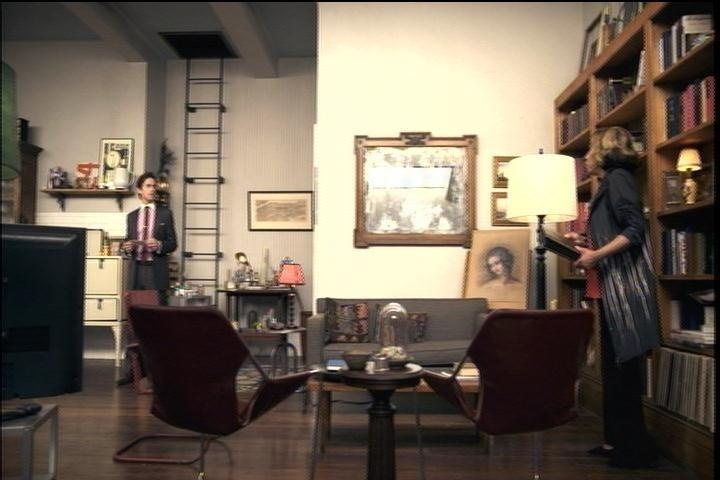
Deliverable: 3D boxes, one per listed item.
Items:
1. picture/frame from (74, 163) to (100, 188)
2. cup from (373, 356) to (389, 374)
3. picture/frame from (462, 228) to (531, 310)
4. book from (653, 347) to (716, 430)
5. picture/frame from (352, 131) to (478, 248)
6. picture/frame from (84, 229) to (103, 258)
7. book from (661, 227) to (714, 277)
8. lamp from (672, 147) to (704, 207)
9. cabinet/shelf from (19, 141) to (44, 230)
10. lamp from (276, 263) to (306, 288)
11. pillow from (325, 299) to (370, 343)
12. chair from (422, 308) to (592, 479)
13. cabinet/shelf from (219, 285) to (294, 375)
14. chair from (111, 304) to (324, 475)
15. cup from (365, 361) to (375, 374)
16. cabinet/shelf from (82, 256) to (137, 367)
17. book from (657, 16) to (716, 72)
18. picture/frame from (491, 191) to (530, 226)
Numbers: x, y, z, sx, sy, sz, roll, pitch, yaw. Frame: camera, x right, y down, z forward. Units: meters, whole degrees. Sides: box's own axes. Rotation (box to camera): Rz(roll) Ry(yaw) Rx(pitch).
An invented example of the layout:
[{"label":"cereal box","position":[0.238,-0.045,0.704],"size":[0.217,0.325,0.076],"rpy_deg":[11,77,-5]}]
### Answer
[{"label":"picture/frame","position":[-3.566,-0.828,8.640],"size":[0.378,0.381,0.071],"rpy_deg":[-1,-18,-7]},{"label":"cup","position":[0.138,0.848,4.494],"size":[0.089,0.073,0.103],"rpy_deg":[-1,-9,10]},{"label":"picture/frame","position":[1.395,0.311,6.682],"size":[0.906,0.983,0.084],"rpy_deg":[1,-8,16]},{"label":"book","position":[2.440,1.093,5.014],"size":[0.159,0.464,0.370],"rpy_deg":[7,-3,-23]},{"label":"picture/frame","position":[0.579,-0.497,6.980],"size":[1.375,1.104,0.128],"rpy_deg":[1,-3,0]},{"label":"picture/frame","position":[-3.206,0.037,8.046],"size":[0.184,0.323,0.225],"rpy_deg":[-1,-1,-20]},{"label":"book","position":[2.510,0.128,5.142],"size":[0.451,0.400,0.322],"rpy_deg":[-2,-6,26]},{"label":"lamp","position":[2.571,-0.494,5.140],"size":[0.201,0.440,0.208],"rpy_deg":[-1,-1,8]},{"label":"cabinet/shelf","position":[-4.293,-0.642,8.527],"size":[0.263,1.016,0.342],"rpy_deg":[3,11,-20]},{"label":"lamp","position":[-0.832,0.406,7.941],"size":[0.337,0.245,0.369],"rpy_deg":[0,-2,-5]},{"label":"pillow","position":[-0.132,0.780,6.414],"size":[0.421,0.370,0.129],"rpy_deg":[-2,-12,-7]},{"label":"chair","position":[0.709,0.947,4.657],"size":[1.051,1.278,1.001],"rpy_deg":[1,-1,-15]},{"label":"cabinet/shelf","position":[-1.214,1.108,8.254],"size":[1.176,1.096,1.098],"rpy_deg":[0,-9,-5]},{"label":"chair","position":[-1.069,1.117,4.959],"size":[1.402,1.167,1.416],"rpy_deg":[0,-5,24]},{"label":"cup","position":[0.068,0.858,4.501],"size":[0.068,0.068,0.065],"rpy_deg":[0,-5,0]},{"label":"cabinet/shelf","position":[-2.868,0.835,8.219],"size":[0.809,1.268,0.842],"rpy_deg":[-3,-5,42]},{"label":"book","position":[2.523,-1.531,5.171],"size":[0.322,0.126,0.408],"rpy_deg":[0,-2,-21]},{"label":"picture/frame","position":[1.342,-0.271,5.952],"size":[0.421,0.369,0.028],"rpy_deg":[0,-7,3]}]
